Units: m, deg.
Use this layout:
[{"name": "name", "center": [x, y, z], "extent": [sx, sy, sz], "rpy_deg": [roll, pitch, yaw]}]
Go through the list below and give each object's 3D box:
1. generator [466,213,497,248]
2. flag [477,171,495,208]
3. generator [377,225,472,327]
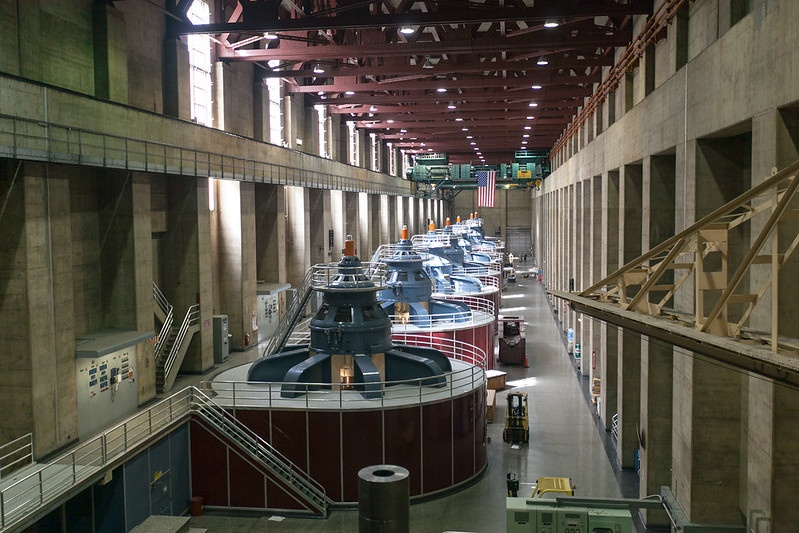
[{"name": "generator", "center": [9.062, -3.666, 80.788], "extent": [2.359, 4.368, 7.510], "rpy_deg": [-4, -6, 27]}, {"name": "flag", "center": [8.221, -7.464, 68.037], "extent": [1.342, 3.638, 1.871], "rpy_deg": [-2, -5, 16]}, {"name": "generator", "center": [0.630, 1.084, 37.837], "extent": [4.844, 3.499, 4.954], "rpy_deg": [2, 4, 20]}]
